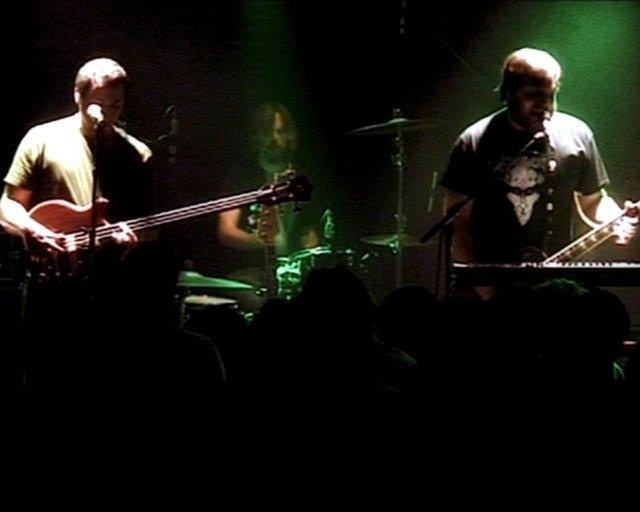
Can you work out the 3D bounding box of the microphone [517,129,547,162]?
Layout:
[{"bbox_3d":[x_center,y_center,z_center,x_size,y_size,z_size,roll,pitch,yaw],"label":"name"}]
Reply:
[{"bbox_3d":[1.322,-0.690,4.170,0.210,0.143,0.124,-5,1,7],"label":"microphone"}]
